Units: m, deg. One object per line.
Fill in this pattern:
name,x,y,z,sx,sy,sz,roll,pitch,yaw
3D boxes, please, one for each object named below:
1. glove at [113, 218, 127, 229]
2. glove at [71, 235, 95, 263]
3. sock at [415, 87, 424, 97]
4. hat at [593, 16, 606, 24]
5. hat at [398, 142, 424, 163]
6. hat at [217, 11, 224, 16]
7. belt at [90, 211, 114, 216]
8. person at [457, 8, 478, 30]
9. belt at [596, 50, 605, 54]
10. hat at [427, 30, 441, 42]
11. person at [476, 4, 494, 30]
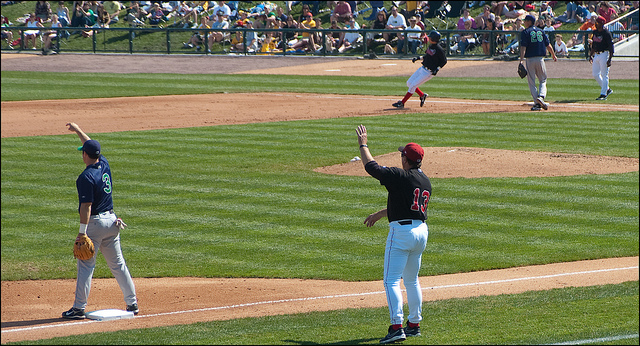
glove,-6.232,1.578,36.168,0.214,0.331,0.504,-3,5,8
glove,-7.208,2.314,35.573,0.664,0.566,0.762,-5,34,-12
sock,3.904,-3.214,46.957,0.339,0.365,0.650,-3,5,4
hat,10.973,-6.074,46.611,0.453,0.184,0.592,-1,5,-29
hat,2.749,-0.610,35.062,0.517,0.368,0.673,-16,49,-45
hat,-5.226,-8.187,60.173,0.202,0.245,0.466,-3,5,3
belt,-6.706,1.249,35.850,0.649,0.082,0.077,-4,5,-19
person,7.102,-7.516,57.380,0.954,1.053,1.362,-3,5,5
belt,11.111,-4.815,46.821,0.339,0.115,0.076,-1,6,21
hat,4.346,-5.331,45.624,0.458,0.472,0.551,-3,5,2
person,7.858,-7.522,56.672,0.615,1.101,1.384,-4,5,-2
